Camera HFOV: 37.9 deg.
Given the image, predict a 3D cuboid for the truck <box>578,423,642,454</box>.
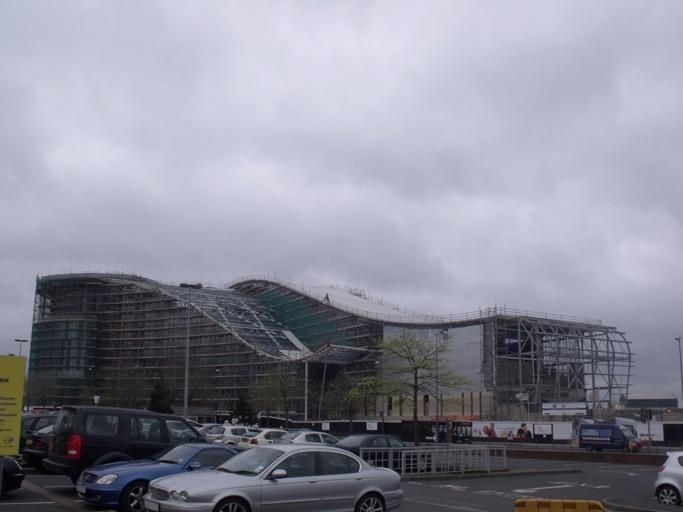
[{"bbox_3d":[21.409,14.543,79.381,4.353,1.557,2.091,-4,-9,20],"label":"truck"}]
